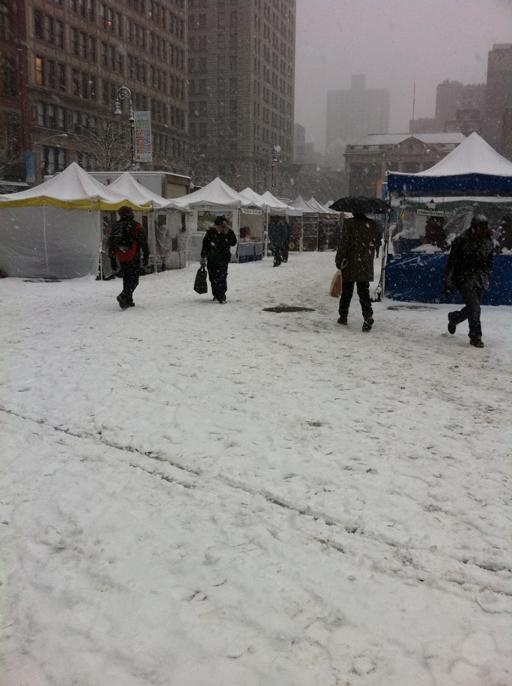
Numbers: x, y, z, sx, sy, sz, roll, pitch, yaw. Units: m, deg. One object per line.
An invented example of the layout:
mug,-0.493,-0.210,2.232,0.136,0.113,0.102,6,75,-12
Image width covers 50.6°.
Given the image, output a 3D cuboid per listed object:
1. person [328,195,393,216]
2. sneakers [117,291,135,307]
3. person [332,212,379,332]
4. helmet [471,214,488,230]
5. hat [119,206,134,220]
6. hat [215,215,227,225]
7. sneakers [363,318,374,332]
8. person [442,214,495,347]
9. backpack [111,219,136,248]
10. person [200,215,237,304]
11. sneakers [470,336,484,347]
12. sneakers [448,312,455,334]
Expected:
person,1.808,-2.416,9.414,0.962,0.440,1.809,4,11,17
sneakers,-2.485,-0.776,10.462,0.149,0.231,0.469,1,-18,8
person,1.663,-1.188,8.737,0.673,1.876,0.809,3,10,13
helmet,3.181,-1.699,7.604,0.188,0.220,0.219,-2,8,3
hat,-2.507,-2.512,10.465,0.238,0.109,0.288,-4,1,14
hat,-0.722,-2.534,10.989,0.140,0.199,0.177,13,3,40
sneakers,1.774,-0.297,8.556,0.139,0.217,0.212,2,-3,3
person,3.071,-0.920,7.788,0.608,1.807,0.868,5,11,24
backpack,-2.536,-2.103,10.418,0.466,0.742,0.367,3,-7,3
person,-0.803,-1.817,11.657,0.719,1.799,1.386,0,10,-5
sneakers,3.094,-0.023,7.492,0.085,0.100,0.211,0,-4,9
sneakers,3.013,-0.319,8.268,0.098,0.322,0.214,1,10,3
